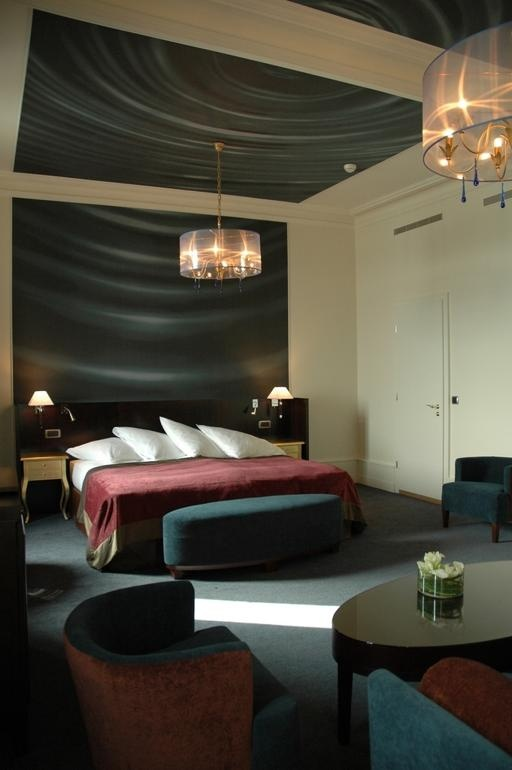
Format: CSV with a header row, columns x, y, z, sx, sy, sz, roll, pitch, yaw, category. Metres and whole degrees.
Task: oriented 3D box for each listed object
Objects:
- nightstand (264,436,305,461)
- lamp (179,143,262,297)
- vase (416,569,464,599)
x,y,z,sx,sy,sz,roll,pitch,yaw,category
0.361,0.677,6.209,0.289,0.308,0.213,1,-3,-28,nightstand
-0.310,-1.494,4.871,0.663,1.210,0.666,-1,-1,-15,lamp
0.735,0.775,2.326,0.123,0.081,0.129,-2,-5,23,vase
